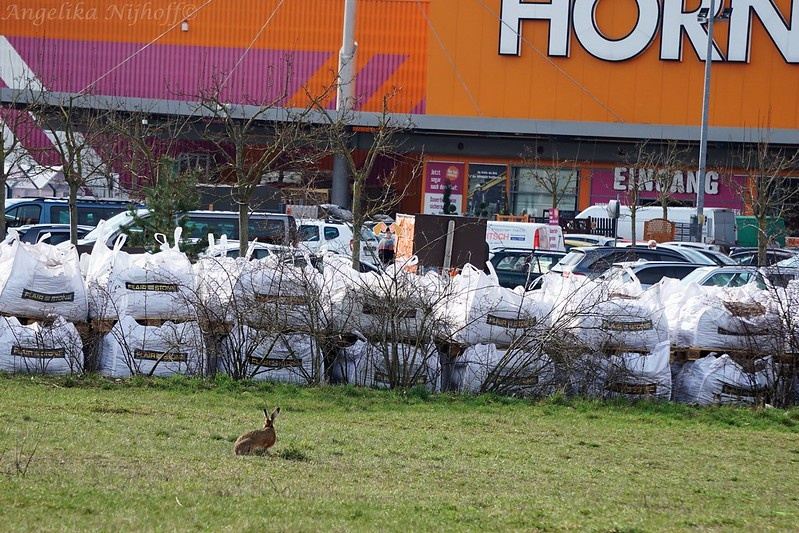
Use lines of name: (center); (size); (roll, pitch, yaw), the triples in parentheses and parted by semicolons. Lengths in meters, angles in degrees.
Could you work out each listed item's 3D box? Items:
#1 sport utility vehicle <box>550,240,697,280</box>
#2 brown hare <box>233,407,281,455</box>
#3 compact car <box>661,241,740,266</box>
sport utility vehicle: (7.506, -0.317, 56.896); (3.984, 1.502, 1.906); (-5, 7, -20)
brown hare: (-3.841, 4.652, 46.946); (1.575, 1.700, 0.832); (-5, 6, -28)
compact car: (10.850, -0.488, 59.093); (0.864, 0.694, 1.826); (-3, 10, -23)
